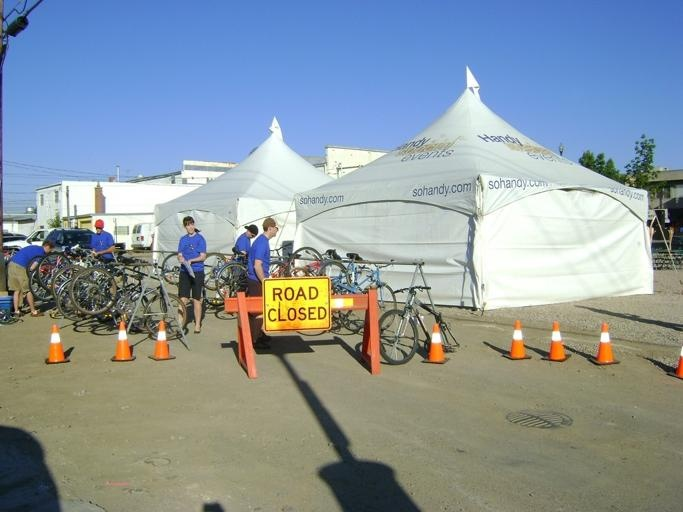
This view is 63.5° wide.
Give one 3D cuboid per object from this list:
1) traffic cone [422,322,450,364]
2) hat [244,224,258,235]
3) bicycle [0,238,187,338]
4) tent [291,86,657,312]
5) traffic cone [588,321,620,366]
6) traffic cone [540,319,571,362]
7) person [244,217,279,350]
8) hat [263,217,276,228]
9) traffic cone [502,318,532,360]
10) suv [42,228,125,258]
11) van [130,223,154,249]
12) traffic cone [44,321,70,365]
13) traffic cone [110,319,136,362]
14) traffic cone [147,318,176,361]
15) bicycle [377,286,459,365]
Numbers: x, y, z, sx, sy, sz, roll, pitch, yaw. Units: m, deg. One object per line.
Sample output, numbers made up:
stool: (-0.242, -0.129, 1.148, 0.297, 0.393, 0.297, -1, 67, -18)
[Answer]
traffic cone: (1.510, 1.379, 8.799, 0.307, 0.581, 0.394, 1, 5, 9)
hat: (-1.837, -0.523, 11.447, 0.260, 0.127, 0.201, 27, 7, 41)
bicycle: (-5.384, 0.742, 11.834, 2.272, 1.184, 1.122, 23, -7, 8)
tent: (3.438, -1.052, 15.489, 6.926, 5.001, 7.047, 6, 6, 37)
traffic cone: (4.110, 1.340, 8.646, 0.470, 0.594, 0.463, -2, 2, -13)
traffic cone: (3.421, 1.358, 8.831, 0.548, 0.563, 0.529, -2, 1, -18)
person: (-1.343, 0.470, 9.387, 0.477, 2.204, 0.911, -1, 5, -10)
hat: (-1.224, -0.561, 9.361, 0.143, 0.124, 0.202, 12, 19, 38)
traffic cone: (2.859, 1.348, 9.009, 0.557, 0.585, 0.532, 1, 2, 16)
suv: (-8.115, -0.430, 17.040, 2.595, 1.368, 1.519, -2, -1, 39)
van: (-15.440, -1.574, 42.867, 1.909, 1.541, 2.731, -2, 12, -22)
traffic cone: (-4.427, 1.361, 8.578, 0.401, 0.531, 0.418, -4, 4, -30)
traffic cone: (-3.499, 1.345, 8.834, 0.477, 0.572, 0.465, -1, 0, -28)
traffic cone: (-2.894, 1.345, 8.944, 0.581, 0.589, 0.593, -1, 1, 19)
bicycle: (1.340, 1.103, 9.093, 2.016, 1.194, 1.029, 1, -5, -44)
